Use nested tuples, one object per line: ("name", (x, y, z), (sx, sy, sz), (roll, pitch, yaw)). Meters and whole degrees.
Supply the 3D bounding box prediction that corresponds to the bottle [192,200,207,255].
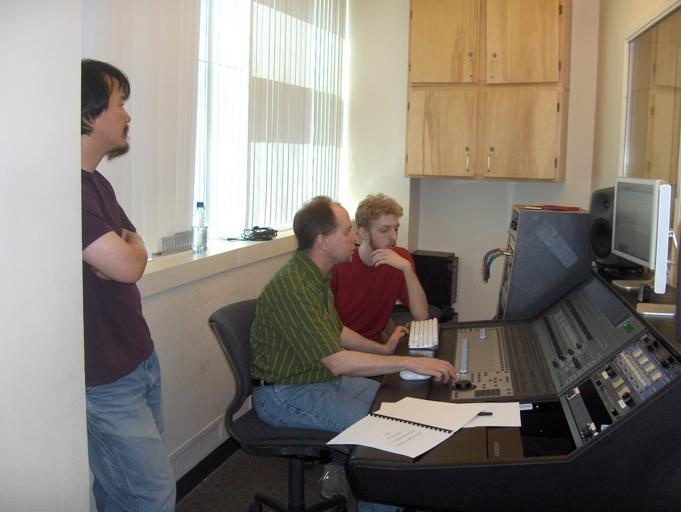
("bottle", (-0.720, -0.149, 2.606), (0.082, 0.250, 0.306), (-9, 8, -11))
